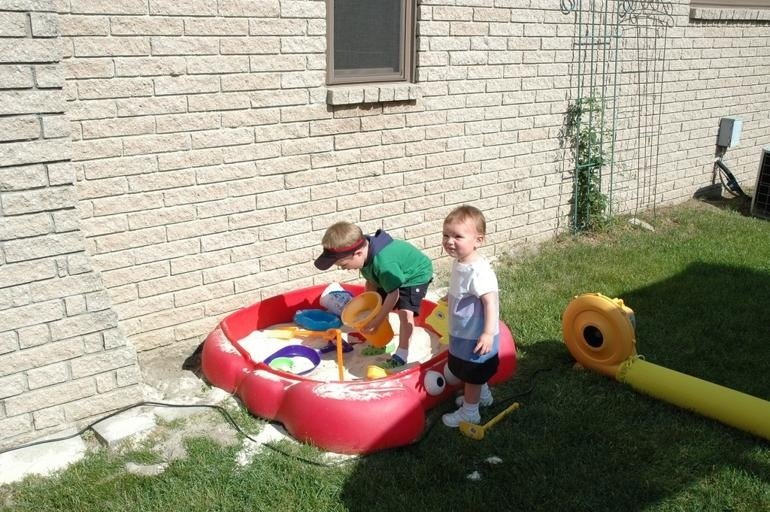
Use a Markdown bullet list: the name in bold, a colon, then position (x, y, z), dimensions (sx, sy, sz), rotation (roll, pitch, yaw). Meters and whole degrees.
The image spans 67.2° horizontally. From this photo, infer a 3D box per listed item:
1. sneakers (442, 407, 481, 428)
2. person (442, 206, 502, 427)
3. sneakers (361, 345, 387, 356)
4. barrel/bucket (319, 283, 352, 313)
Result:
- **sneakers**: position (0.567, 1.170, 4.301), dimensions (0.261, 0.182, 0.138), rotation (1, -1, 20)
- **person**: position (0.592, 0.448, 4.172), dimensions (0.447, 1.559, 0.482), rotation (9, 22, 26)
- **sneakers**: position (-0.101, 0.821, 5.057), dimensions (0.145, 0.053, 0.092), rotation (2, 3, -17)
- **barrel/bucket**: position (-0.467, 0.400, 5.480), dimensions (0.262, 0.263, 0.144), rotation (41, -7, 9)
